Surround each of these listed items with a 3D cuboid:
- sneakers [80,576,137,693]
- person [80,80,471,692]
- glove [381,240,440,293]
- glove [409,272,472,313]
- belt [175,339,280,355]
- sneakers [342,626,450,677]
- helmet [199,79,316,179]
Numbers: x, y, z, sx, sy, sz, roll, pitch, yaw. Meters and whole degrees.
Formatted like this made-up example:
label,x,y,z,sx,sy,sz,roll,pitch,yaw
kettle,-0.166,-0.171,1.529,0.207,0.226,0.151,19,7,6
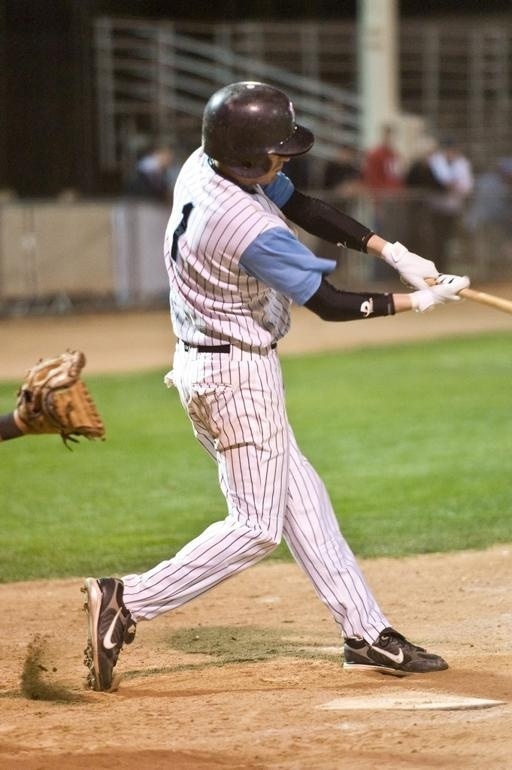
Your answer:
label,x,y,z,sx,sy,sz,roll,pitch,yaw
sneakers,-0.406,0.671,3.030,0.192,0.303,0.116,2,2,-8
person,0.012,0.007,3.140,1.193,1.689,0.559,-7,15,-12
glove,0.455,-0.348,3.278,0.208,0.055,0.117,28,-13,0
glove,0.518,-0.265,3.124,0.083,0.063,0.288,27,29,37
belt,-0.103,-0.103,3.026,0.290,0.041,0.148,0,11,15
sneakers,0.406,0.785,3.236,0.324,0.105,0.124,1,-7,6
helmet,-0.007,-0.700,2.976,0.339,0.210,0.213,-3,39,-11
